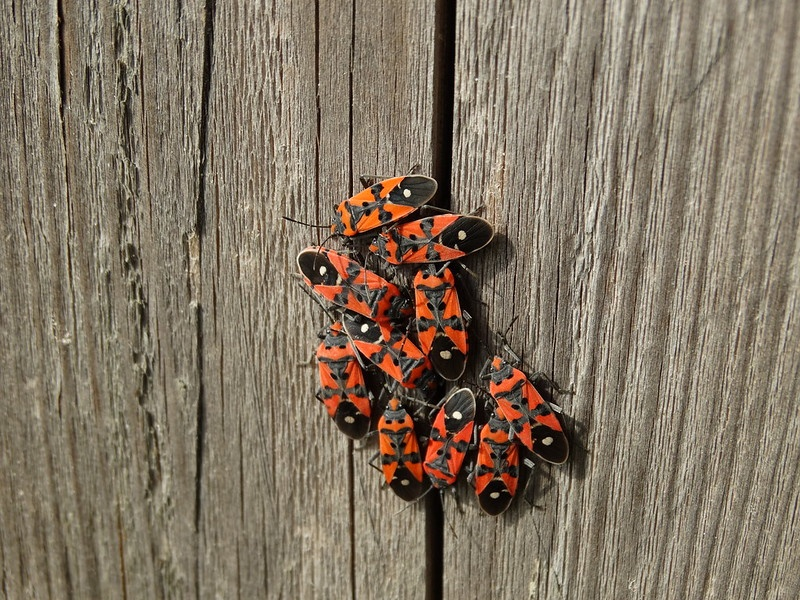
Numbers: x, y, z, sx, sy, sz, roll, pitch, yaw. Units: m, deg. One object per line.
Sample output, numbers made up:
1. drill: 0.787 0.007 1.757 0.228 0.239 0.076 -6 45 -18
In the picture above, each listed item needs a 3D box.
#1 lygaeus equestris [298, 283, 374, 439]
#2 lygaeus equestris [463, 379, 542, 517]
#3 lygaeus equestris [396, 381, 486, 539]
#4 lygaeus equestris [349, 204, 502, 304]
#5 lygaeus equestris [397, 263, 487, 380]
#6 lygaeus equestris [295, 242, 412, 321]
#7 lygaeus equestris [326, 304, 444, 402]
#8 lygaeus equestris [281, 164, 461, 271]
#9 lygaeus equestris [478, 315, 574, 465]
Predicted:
1. lygaeus equestris: -0.233 0.294 4.220 0.433 0.184 0.637 -22 96 24
2. lygaeus equestris: 0.443 0.689 3.983 0.365 0.127 0.468 6 99 16
3. lygaeus equestris: 0.192 0.640 3.911 0.281 0.117 0.422 15 98 20
4. lygaeus equestris: 0.093 -0.242 3.914 0.600 0.440 0.183 -7 24 4
5. lygaeus equestris: 0.179 0.103 3.971 0.300 0.123 0.484 -3 99 22
6. lygaeus equestris: -0.223 -0.068 4.053 0.439 0.129 0.327 32 75 15
7. lygaeus equestris: -0.063 0.275 4.098 0.531 0.148 0.378 37 34 19
8. lygaeus equestris: -0.163 -0.331 4.054 0.401 0.189 0.666 34 41 30
9. lygaeus equestris: 0.564 0.451 3.951 0.504 0.276 0.277 35 68 26
